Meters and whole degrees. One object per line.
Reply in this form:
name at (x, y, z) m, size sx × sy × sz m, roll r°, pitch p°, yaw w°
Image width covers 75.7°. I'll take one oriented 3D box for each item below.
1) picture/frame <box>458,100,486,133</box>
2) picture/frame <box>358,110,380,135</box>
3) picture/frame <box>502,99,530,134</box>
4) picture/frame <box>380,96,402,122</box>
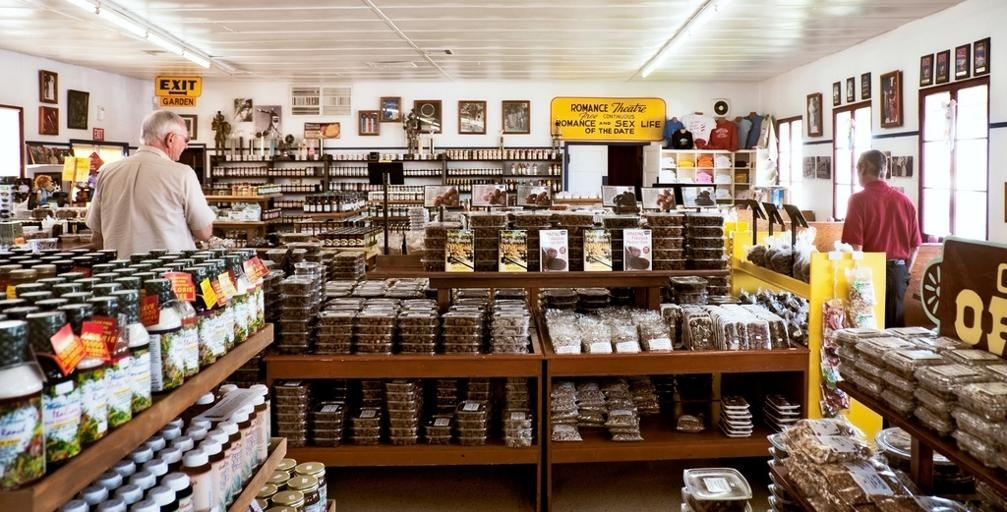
picture/frame at (-0.736, -3.103, 14.433) m, size 0.882 × 0.797 × 0.043 m, roll -1°, pitch 1°, yaw 1°
picture/frame at (-3.057, -2.937, 14.505) m, size 0.487 × 0.561 × 0.112 m, roll -2°, pitch 10°, yaw -7°
picture/frame at (0.259, -3.102, 14.424) m, size 0.926 × 0.817 × 0.063 m, roll 0°, pitch 2°, yaw -3°
picture/frame at (-2.533, -3.259, 14.450) m, size 0.708 × 0.676 × 0.074 m, roll 0°, pitch 5°, yaw -5°
